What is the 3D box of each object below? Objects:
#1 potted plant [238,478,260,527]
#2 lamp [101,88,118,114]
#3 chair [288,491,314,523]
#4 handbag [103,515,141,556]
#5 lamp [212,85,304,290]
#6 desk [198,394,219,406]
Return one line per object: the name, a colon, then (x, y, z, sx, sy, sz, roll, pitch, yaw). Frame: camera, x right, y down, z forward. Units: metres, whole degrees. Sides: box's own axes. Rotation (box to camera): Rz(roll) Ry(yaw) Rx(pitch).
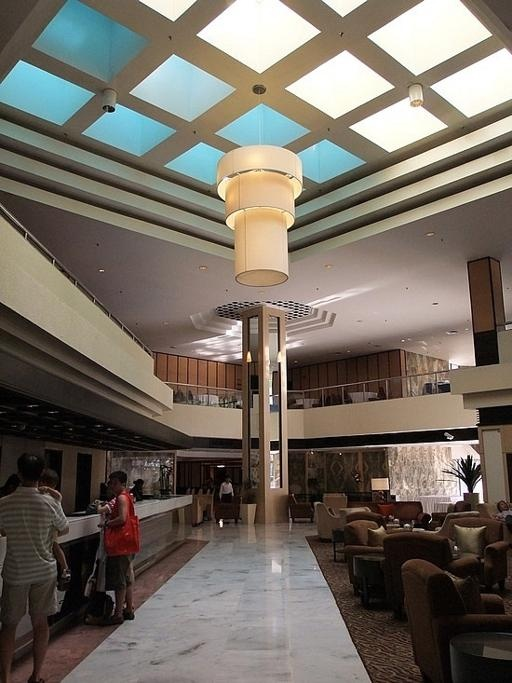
potted plant: (-0.272, 5.471, 15.554, 0.644, 1.392, 0.491, -4, -13, 13)
lamp: (-2.590, -4.252, 7.992, 0.286, 0.487, 0.303, -2, -20, -7)
chair: (1.503, 5.992, 16.310, 1.189, 1.326, 1.014, 0, -11, 1)
handbag: (-1.240, 1.836, 4.276, 0.175, 0.353, 0.357, -12, -16, 40)
lamp: (0.046, -1.824, 6.418, 1.201, 1.912, 0.667, 0, -12, -3)
desk: (-2.122, 2.663, 20.513, 0.549, 0.389, 0.581, -5, -8, 33)
